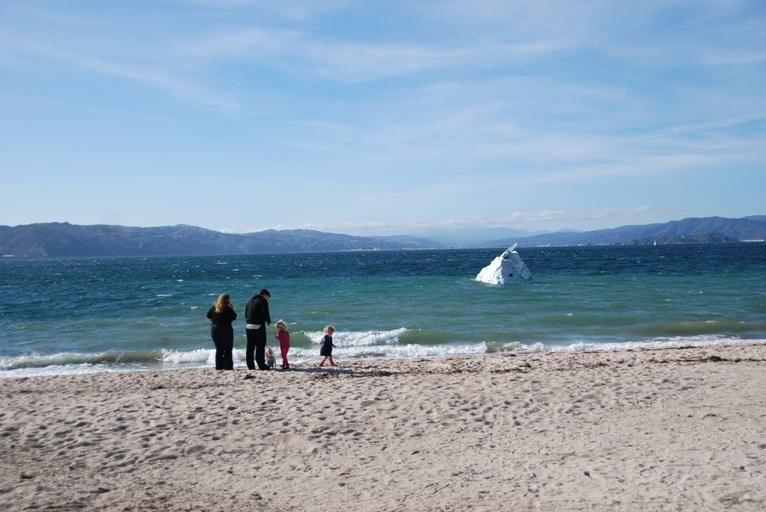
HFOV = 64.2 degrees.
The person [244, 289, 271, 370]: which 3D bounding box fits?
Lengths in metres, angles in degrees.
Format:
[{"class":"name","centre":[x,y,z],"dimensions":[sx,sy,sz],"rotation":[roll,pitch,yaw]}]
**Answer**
[{"class":"person","centre":[-4.151,2.470,20.213],"dimensions":[0.890,2.888,1.447],"rotation":[-5,13,-12]}]
